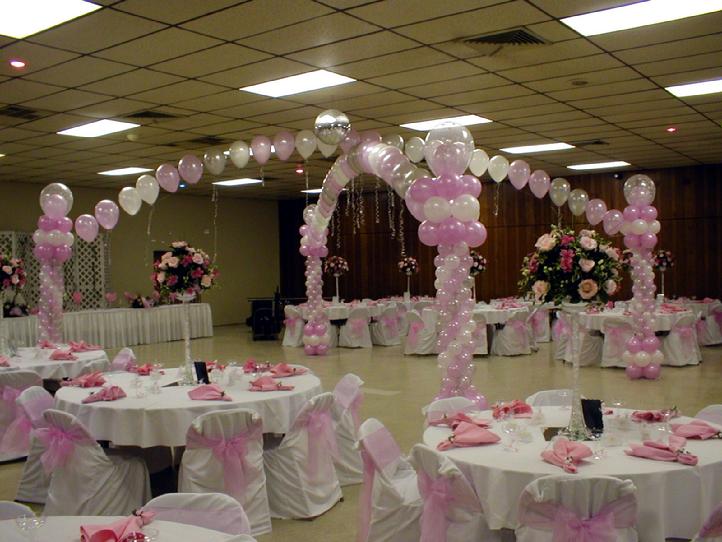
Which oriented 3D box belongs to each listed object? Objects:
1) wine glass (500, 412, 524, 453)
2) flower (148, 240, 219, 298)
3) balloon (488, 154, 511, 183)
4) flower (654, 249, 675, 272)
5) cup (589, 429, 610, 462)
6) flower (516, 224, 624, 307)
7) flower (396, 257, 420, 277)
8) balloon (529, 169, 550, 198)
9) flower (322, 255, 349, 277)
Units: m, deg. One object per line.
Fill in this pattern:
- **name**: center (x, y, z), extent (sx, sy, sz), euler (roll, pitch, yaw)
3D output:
- **wine glass**: center (0.943, 1.032, 3.435), extent (0.096, 0.176, 0.119), euler (-2, 1, -2)
- **flower**: center (-1.790, -0.001, 5.475), extent (0.595, 0.620, 0.417), euler (-1, -1, -12)
- **balloon**: center (1.877, -1.471, 7.474), extent (0.211, 0.374, 0.698), euler (-2, -2, 21)
- **flower**: center (6.634, -0.248, 11.978), extent (0.340, 0.376, 0.354), euler (10, 37, 25)
- **cup**: center (1.396, 1.046, 3.246), extent (0.088, 0.154, 0.089), euler (-2, 5, 0)
- **flower**: center (1.443, -0.012, 3.925), extent (0.566, 0.521, 0.582), euler (0, -2, -5)
- **flower**: center (1.222, -0.165, 13.781), extent (0.514, 0.606, 0.551), euler (0, -5, -10)
- **balloon**: center (2.691, -1.362, 8.244), extent (0.306, 0.443, 0.615), euler (-2, -2, 19)
- **flower**: center (-0.618, -0.136, 13.348), extent (0.570, 0.487, 0.602), euler (-2, 5, 3)
